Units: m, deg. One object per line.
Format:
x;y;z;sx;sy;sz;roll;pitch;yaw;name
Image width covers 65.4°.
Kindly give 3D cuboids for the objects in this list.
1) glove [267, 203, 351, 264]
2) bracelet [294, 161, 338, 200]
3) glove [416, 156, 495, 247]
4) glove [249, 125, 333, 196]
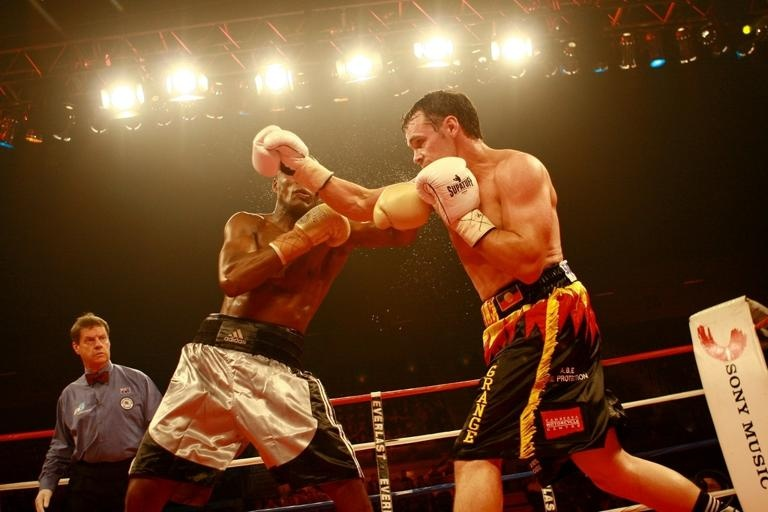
-0.544;-0.178;4.453;0.564;0.380;0.227;-42;-4;-19;glove
-0.557;-0.625;4.617;0.256;0.291;0.224;-35;18;54;bracelet
0.474;-0.389;4.405;0.442;0.678;0.242;-38;-9;-15;glove
-0.741;-0.715;4.559;0.449;0.601;0.278;-45;6;27;glove
